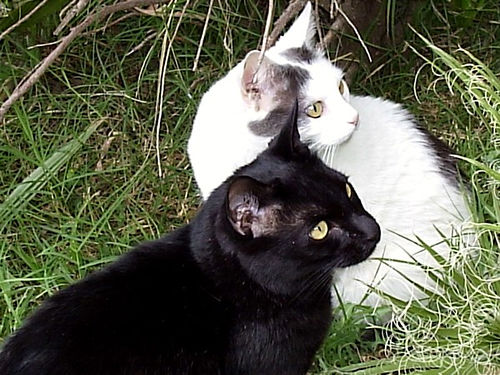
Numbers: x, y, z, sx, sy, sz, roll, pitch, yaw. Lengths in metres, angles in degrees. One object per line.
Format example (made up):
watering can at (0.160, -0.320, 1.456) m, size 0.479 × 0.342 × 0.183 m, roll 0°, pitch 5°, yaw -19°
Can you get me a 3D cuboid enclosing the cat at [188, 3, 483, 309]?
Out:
cat at (0.338, -0.120, 2.427) m, size 1.193 × 1.061 × 0.826 m, roll 30°, pitch 60°, yaw 9°
